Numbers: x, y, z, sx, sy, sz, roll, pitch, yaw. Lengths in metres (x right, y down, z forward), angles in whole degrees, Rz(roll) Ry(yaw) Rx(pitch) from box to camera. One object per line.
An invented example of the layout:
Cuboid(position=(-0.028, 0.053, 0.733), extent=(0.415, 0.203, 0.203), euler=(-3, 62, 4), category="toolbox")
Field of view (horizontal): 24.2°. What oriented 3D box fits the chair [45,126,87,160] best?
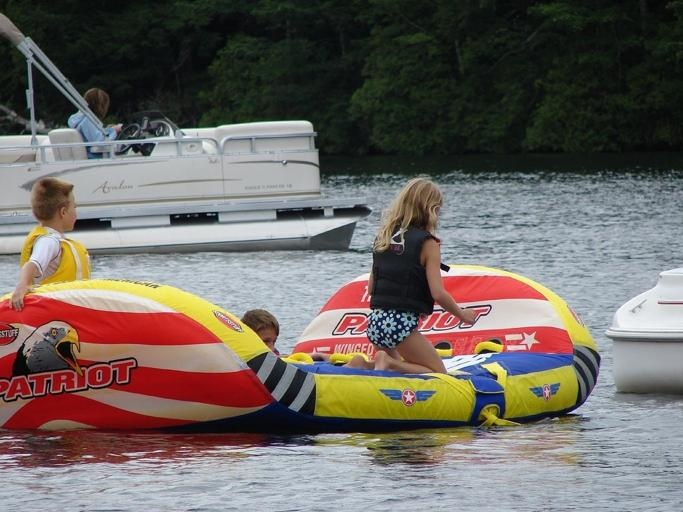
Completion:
Cuboid(position=(-4.900, -1.950, 27.956), extent=(0.693, 0.666, 0.797), euler=(-3, 19, 2), category="chair")
